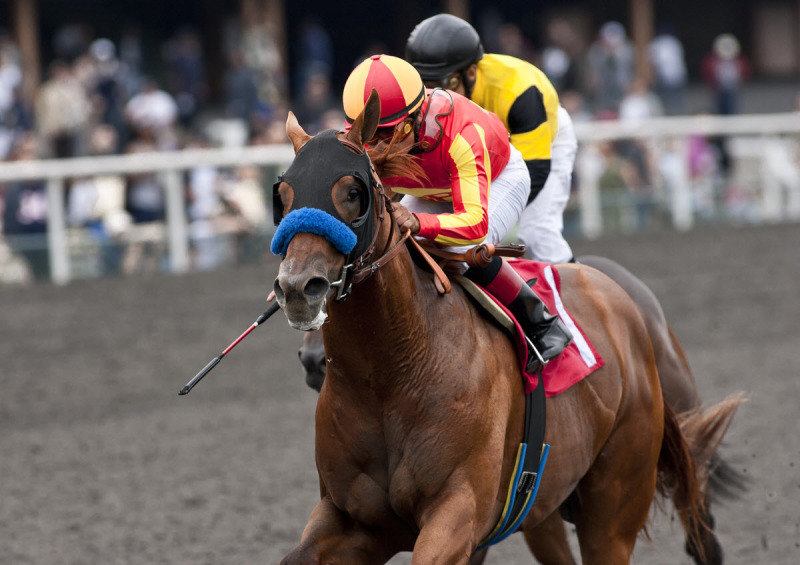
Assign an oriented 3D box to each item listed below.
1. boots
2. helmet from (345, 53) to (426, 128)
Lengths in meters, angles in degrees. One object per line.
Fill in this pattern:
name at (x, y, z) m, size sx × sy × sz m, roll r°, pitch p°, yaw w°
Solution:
boots at (0.628, 0.180, 7.562) m, size 0.655 × 0.201 × 0.364 m, roll 34°, pitch 37°, yaw -16°
helmet at (-0.095, -0.954, 7.249) m, size 0.291 × 0.236 × 0.403 m, roll -5°, pitch 34°, yaw 33°
